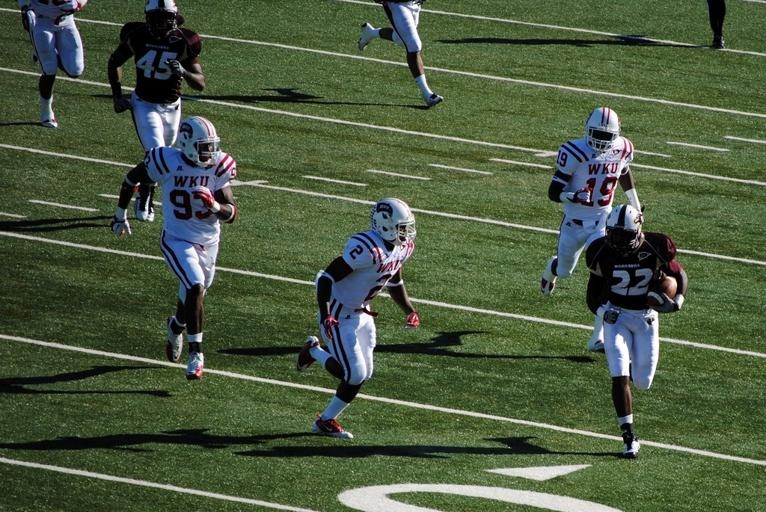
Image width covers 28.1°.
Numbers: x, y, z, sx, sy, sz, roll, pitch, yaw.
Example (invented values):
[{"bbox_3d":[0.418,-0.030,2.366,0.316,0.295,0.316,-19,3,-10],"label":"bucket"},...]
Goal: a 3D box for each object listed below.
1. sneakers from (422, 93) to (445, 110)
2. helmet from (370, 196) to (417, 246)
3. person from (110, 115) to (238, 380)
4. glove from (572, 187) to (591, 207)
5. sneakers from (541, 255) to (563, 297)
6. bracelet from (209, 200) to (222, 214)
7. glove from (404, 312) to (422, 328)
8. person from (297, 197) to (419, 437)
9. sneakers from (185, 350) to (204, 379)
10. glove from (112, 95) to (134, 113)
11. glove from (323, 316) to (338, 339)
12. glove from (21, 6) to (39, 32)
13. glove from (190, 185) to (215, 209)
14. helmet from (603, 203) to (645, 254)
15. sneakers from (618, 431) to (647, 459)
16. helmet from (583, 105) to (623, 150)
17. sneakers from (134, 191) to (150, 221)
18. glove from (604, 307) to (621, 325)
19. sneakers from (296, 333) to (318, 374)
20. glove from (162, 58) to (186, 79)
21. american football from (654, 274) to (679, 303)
[{"bbox_3d":[0.673,-2.161,21.032,0.130,0.151,0.355,-26,4,-42],"label":"sneakers"},{"bbox_3d":[0.095,-0.337,14.720,0.427,0.439,0.201,4,13,-6],"label":"helmet"},{"bbox_3d":[-1.872,-0.107,15.252,0.712,2.531,0.963,-2,15,-32],"label":"person"},{"bbox_3d":[2.112,-0.646,16.274,0.175,0.164,0.226,8,12,15],"label":"glove"},{"bbox_3d":[1.899,0.205,16.823,0.187,0.424,0.209,11,24,-5],"label":"sneakers"},{"bbox_3d":[-1.656,-0.492,15.077,0.137,0.128,0.243,12,2,-5],"label":"bracelet"},{"bbox_3d":[0.298,0.645,15.639,0.190,0.144,0.178,7,49,1],"label":"glove"},{"bbox_3d":[-0.260,0.579,14.854,0.902,2.338,0.684,3,13,-16],"label":"person"},{"bbox_3d":[-1.866,1.087,15.181,0.157,0.316,0.232,4,12,-8],"label":"sneakers"},{"bbox_3d":[-2.947,-1.746,17.344,0.204,0.182,0.302,3,11,-11],"label":"glove"},{"bbox_3d":[-0.519,0.657,14.630,0.155,0.264,0.178,6,12,0],"label":"glove"},{"bbox_3d":[-4.431,-2.983,19.089,0.141,0.278,0.244,-7,6,-36],"label":"glove"},{"bbox_3d":[-1.770,-0.593,15.102,0.178,0.195,0.262,-2,13,-29],"label":"glove"},{"bbox_3d":[2.361,-0.313,14.920,0.405,0.365,0.475,2,19,12],"label":"helmet"},{"bbox_3d":[2.406,1.811,14.888,0.169,0.286,0.249,9,13,15],"label":"sneakers"},{"bbox_3d":[2.332,-1.408,16.324,0.395,0.409,0.443,13,51,-4],"label":"helmet"},{"bbox_3d":[-2.690,-0.580,17.395,0.143,0.340,0.179,8,-14,-28],"label":"sneakers"},{"bbox_3d":[2.223,0.574,15.059,0.171,0.145,0.126,-33,2,17],"label":"glove"},{"bbox_3d":[-0.776,0.965,15.213,0.208,0.415,0.141,18,40,-11],"label":"sneakers"},{"bbox_3d":[-2.316,-2.131,17.186,0.227,0.157,0.100,28,67,38],"label":"glove"},{"bbox_3d":[2.757,0.286,14.851,0.198,0.178,0.227,0,-18,-1],"label":"american football"}]
